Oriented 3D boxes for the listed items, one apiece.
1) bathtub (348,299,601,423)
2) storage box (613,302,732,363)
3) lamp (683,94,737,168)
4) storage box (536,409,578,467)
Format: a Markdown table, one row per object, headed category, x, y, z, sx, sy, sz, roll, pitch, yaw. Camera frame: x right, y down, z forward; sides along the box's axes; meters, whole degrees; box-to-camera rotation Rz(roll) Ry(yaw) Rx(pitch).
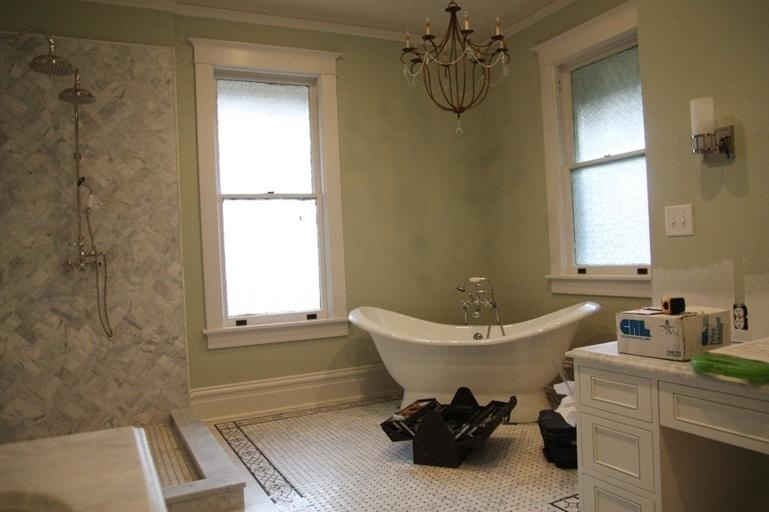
| category | x | y | z | sx | sy | sz | roll | pitch | yaw |
| --- | --- | --- | --- | --- | --- | --- | --- | --- | --- |
| bathtub | 0.735 | 0.811 | 4.327 | 1.786 | 0.875 | 0.730 | -1 | 7 | 18 |
| storage box | 1.345 | 0.360 | 2.562 | 0.317 | 0.195 | 0.311 | 0 | -4 | -40 |
| lamp | 1.682 | -0.637 | 2.770 | 0.197 | 0.332 | 0.137 | 2 | 9 | 33 |
| storage box | 1.077 | 1.186 | 3.472 | 0.211 | 0.206 | 0.292 | -4 | -7 | -5 |
